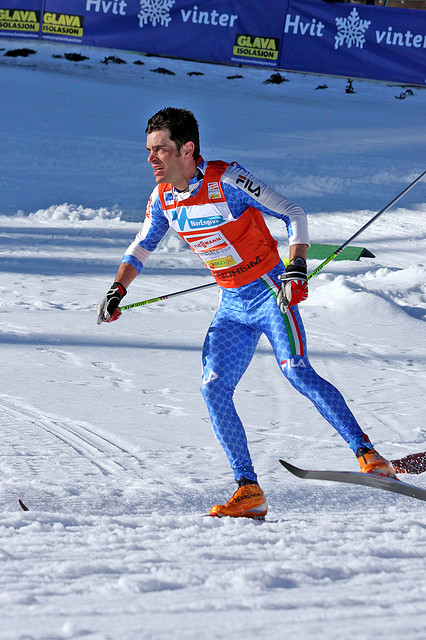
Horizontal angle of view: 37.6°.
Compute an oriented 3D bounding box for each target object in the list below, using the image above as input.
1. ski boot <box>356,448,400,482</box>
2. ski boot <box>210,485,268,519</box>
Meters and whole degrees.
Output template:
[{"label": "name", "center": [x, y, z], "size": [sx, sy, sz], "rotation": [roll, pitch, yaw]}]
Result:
[{"label": "ski boot", "center": [0.653, 0.544, 2.373], "size": [0.222, 0.068, 0.146], "rotation": [15, -22, 11]}, {"label": "ski boot", "center": [0.114, 0.686, 2.382], "size": [0.273, 0.109, 0.085], "rotation": [1, -5, -14]}]
